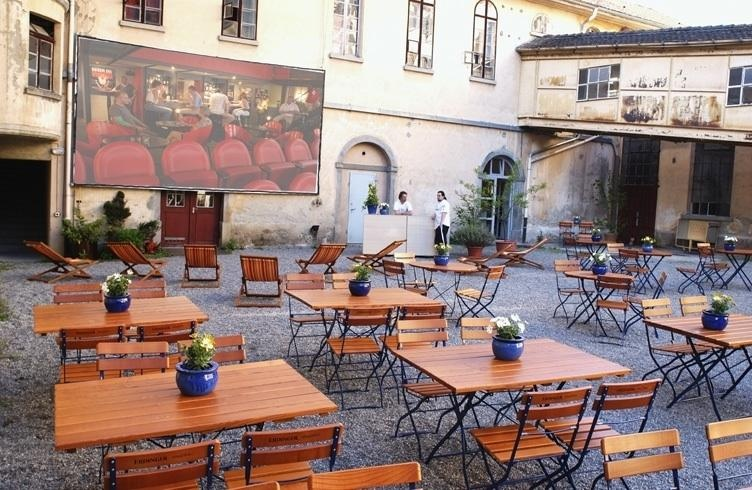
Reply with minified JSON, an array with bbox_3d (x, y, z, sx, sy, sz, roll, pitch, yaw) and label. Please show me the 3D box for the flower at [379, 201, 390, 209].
[{"bbox_3d":[0.234,-1.076,17.687,0.353,0.177,0.498,0,2,0],"label":"flower"}]
